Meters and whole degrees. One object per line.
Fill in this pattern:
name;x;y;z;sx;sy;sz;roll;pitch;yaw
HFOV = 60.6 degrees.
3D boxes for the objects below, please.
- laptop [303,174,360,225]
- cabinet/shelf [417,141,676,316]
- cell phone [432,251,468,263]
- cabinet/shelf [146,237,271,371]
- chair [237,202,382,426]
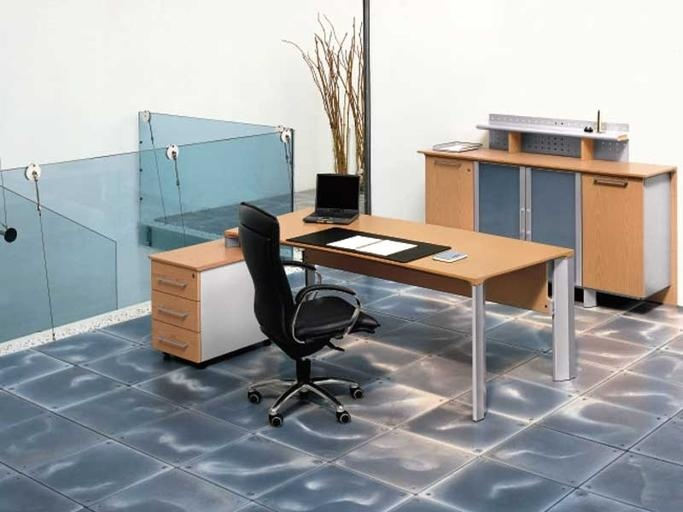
laptop;-0.091;-0.449;4.642;0.445;0.315;0.316;3;16;17
cabinet/shelf;1.828;-0.213;4.907;1.904;0.795;0.520;8;14;39
cell phone;0.685;0.006;3.741;0.150;0.036;0.194;10;16;41
cabinet/shelf;-0.951;0.389;4.723;0.597;0.746;0.976;10;12;40
chair;-0.230;0.321;3.717;0.810;1.336;0.715;-4;15;-9
